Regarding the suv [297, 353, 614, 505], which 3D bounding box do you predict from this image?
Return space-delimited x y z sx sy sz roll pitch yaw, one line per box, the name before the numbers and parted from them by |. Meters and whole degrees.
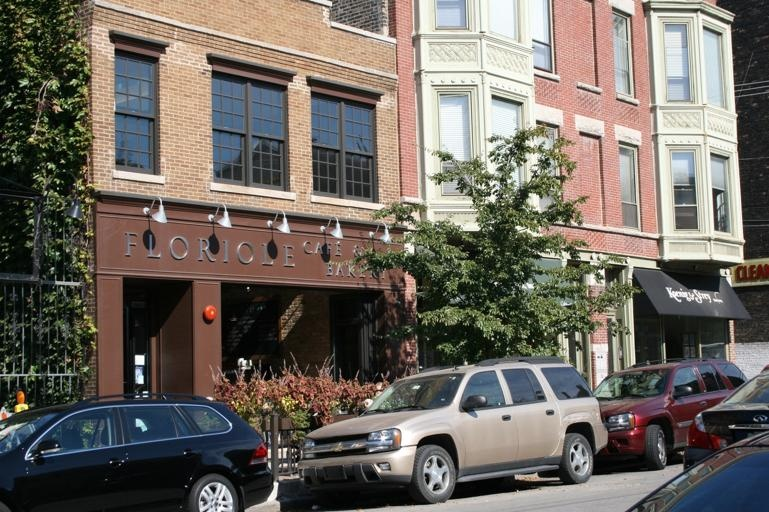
suv | 1.623 3.655 20.167 5.461 2.307 2.887 7 -15 -37
